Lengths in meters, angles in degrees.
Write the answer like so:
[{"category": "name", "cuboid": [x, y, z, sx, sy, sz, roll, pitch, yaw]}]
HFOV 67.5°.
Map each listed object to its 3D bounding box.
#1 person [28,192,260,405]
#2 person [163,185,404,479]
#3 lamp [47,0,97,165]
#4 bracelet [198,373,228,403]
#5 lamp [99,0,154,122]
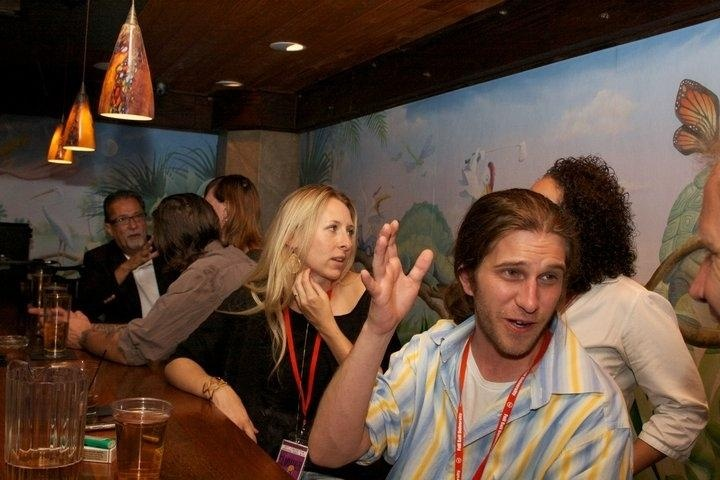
[{"category": "person", "cuboid": [-1.079, 0.235, 3.108, 1.221, 0.786, 0.845, -1, -10, -13]}, {"category": "person", "cuboid": [-0.376, 0.412, 2.363, 1.073, 1.369, 0.889, 10, -21, -27]}, {"category": "lamp", "cuboid": [-2.404, -1.224, 4.414, 0.314, 1.094, 2.269, 1, 3, -29]}, {"category": "bracelet", "cuboid": [-0.625, 0.619, 2.267, 0.070, 0.035, 0.091, 1, 30, -5]}, {"category": "lamp", "cuboid": [-1.014, -0.795, 2.336, 0.211, 0.511, 0.246, 1, 4, -25]}]
